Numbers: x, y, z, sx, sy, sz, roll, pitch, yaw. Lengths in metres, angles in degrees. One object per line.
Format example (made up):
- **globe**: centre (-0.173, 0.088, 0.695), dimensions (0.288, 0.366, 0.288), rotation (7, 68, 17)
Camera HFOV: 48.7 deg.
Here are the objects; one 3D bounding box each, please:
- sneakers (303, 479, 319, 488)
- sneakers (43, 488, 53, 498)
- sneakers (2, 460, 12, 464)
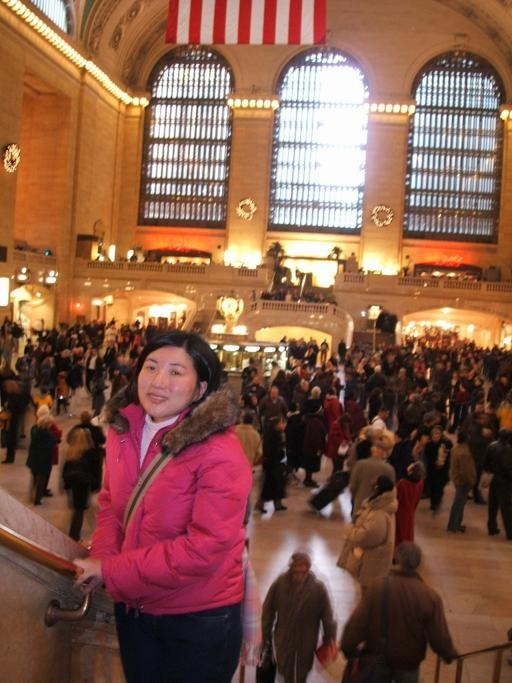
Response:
- **sneakers**: centre (0.857, 2.196, 8.721), dimensions (0.237, 0.131, 0.292), rotation (2, 0, 5)
- **sneakers**: centre (-2.692, 1.981, 7.370), dimensions (0.049, 0.109, 0.152), rotation (5, 8, 0)
- **sneakers**: centre (-3.830, 1.856, 8.697), dimensions (0.132, 0.051, 0.234), rotation (2, 1, -33)
